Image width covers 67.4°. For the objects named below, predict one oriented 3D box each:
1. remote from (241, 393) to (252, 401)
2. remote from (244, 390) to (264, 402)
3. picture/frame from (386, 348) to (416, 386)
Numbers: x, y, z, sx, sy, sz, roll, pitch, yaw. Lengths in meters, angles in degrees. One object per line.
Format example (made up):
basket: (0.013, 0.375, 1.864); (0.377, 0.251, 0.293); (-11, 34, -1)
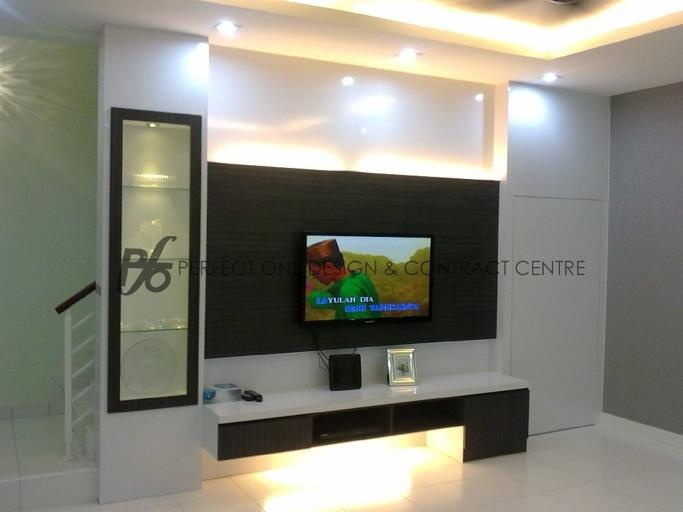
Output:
remote: (-0.721, 1.067, 3.931); (0.071, 0.064, 0.054); (3, 5, 16)
remote: (-0.665, 1.067, 3.914); (0.062, 0.069, 0.184); (3, -5, -41)
picture/frame: (0.516, 0.962, 4.425); (0.264, 0.312, 0.032); (4, -16, -18)
